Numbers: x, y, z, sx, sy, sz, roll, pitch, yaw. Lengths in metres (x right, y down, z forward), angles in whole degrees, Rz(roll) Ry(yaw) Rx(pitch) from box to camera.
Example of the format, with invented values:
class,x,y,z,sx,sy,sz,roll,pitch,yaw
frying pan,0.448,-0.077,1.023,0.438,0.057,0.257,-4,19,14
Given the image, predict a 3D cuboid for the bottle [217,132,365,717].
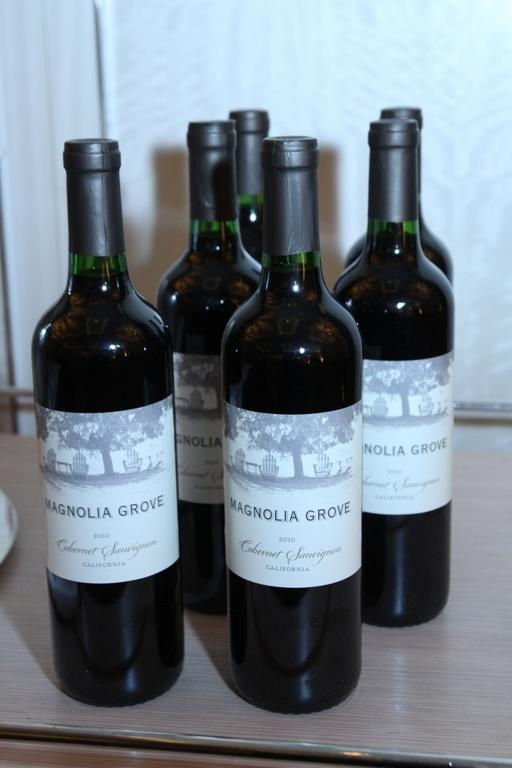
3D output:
class,x,y,z,sx,sy,sz,roll,pitch,yaw
bottle,0.020,0.059,0.459,0.076,0.258,0.046,-1,14,5
